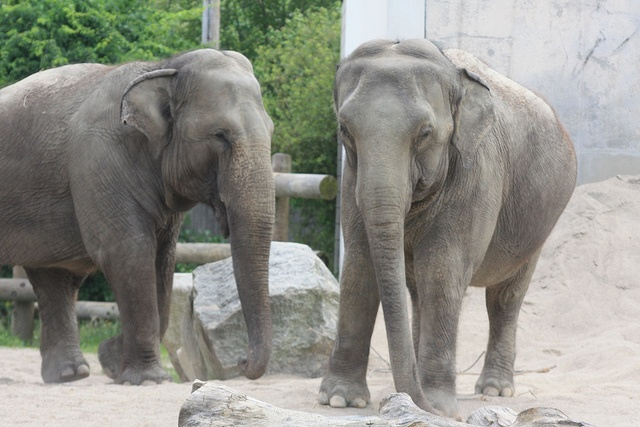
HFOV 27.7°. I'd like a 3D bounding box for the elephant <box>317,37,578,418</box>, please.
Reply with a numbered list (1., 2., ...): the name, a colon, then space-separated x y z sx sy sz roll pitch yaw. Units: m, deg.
1. elephant: 1.093 0.088 11.699 2.093 3.271 1.028 -3 6 -38
